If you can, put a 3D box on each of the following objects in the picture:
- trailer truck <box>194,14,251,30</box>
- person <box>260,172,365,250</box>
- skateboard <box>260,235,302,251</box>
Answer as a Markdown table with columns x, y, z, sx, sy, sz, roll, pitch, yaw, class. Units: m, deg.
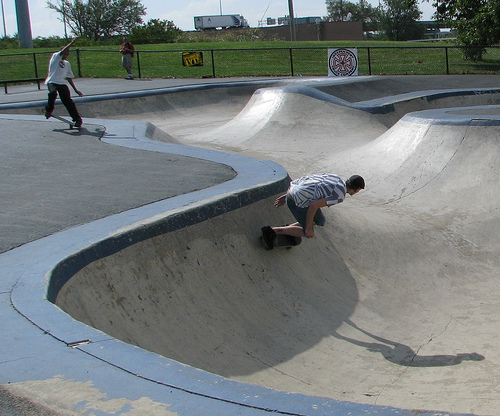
| x | y | z | sx | sy | sz | roll | pitch | yaw | class |
| --- | --- | --- | --- | --- | --- | --- | --- | --- | --- |
| -4.170 | -27.816 | 65.457 | 7.438 | 1.806 | 4.272 | -4 | 11 | -12 | trailer truck |
| 0.743 | 0.080 | 5.405 | 1.298 | 0.702 | 0.567 | -25 | 47 | 14 | person |
| 0.309 | 0.403 | 5.058 | 0.580 | 0.126 | 0.193 | -2 | 10 | -2 | skateboard |
